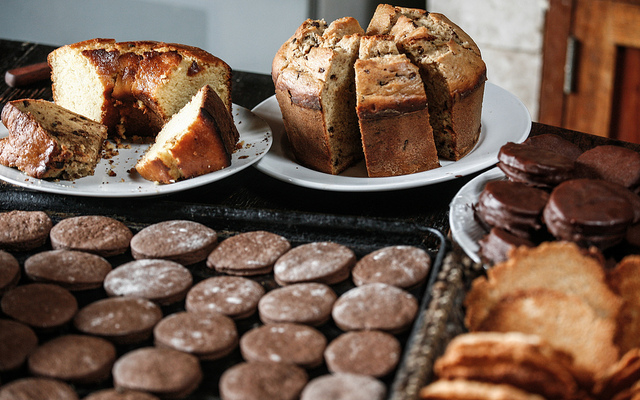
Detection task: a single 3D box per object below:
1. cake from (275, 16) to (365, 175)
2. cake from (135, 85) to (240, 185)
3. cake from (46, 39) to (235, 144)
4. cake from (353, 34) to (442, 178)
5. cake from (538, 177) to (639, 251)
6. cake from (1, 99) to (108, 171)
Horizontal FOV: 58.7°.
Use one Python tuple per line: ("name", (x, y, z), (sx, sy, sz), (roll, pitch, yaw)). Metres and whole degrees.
("cake", (0.007, -0.292, 1.685), (0.193, 0.316, 0.329), (23, 53, 38))
("cake", (-0.373, -0.189, 1.614), (0.268, 0.154, 0.325), (0, 39, 1))
("cake", (-0.611, -0.383, 1.930), (0.570, 0.325, 0.310), (2, 17, -6))
("cake", (0.221, -0.237, 1.626), (0.228, 0.287, 0.182), (-4, 39, -3))
("cake", (0.554, 0.024, 1.164), (0.170, 0.062, 0.139), (-1, 54, -2))
("cake", (-0.754, -0.190, 1.611), (0.244, 0.074, 0.237), (32, 26, 5))
